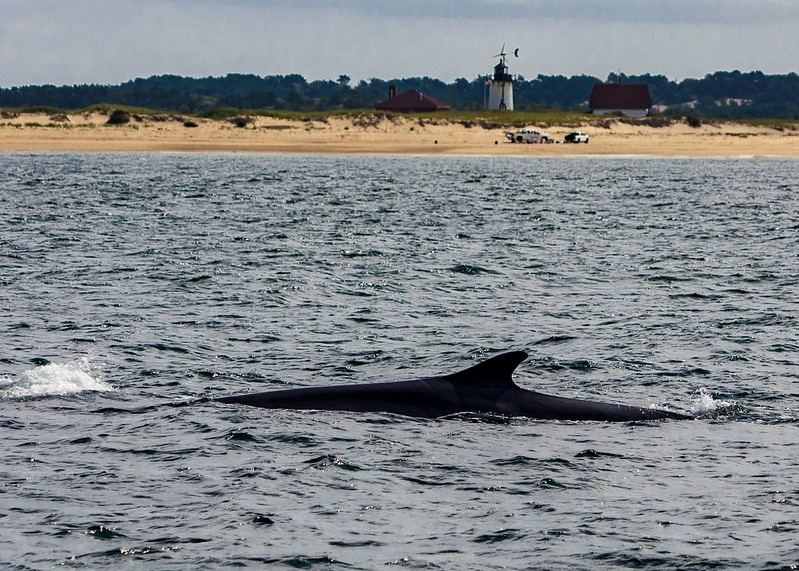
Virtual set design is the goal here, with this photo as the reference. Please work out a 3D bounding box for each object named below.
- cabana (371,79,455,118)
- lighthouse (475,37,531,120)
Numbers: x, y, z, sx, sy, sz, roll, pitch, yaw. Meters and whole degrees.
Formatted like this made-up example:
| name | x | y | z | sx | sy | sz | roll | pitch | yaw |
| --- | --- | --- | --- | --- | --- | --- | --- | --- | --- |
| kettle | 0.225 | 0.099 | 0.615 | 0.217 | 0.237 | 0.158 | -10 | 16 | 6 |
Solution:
| name | x | y | z | sx | sy | sz | roll | pitch | yaw |
| --- | --- | --- | --- | --- | --- | --- | --- | --- | --- |
| cabana | 1.503 | -23.334 | 248.436 | 6.741 | 2.446 | 14.743 | 5 | 9 | 13 |
| lighthouse | 13.174 | -25.350 | 243.405 | 3.842 | 7.648 | 5.931 | -9 | 8 | -40 |
